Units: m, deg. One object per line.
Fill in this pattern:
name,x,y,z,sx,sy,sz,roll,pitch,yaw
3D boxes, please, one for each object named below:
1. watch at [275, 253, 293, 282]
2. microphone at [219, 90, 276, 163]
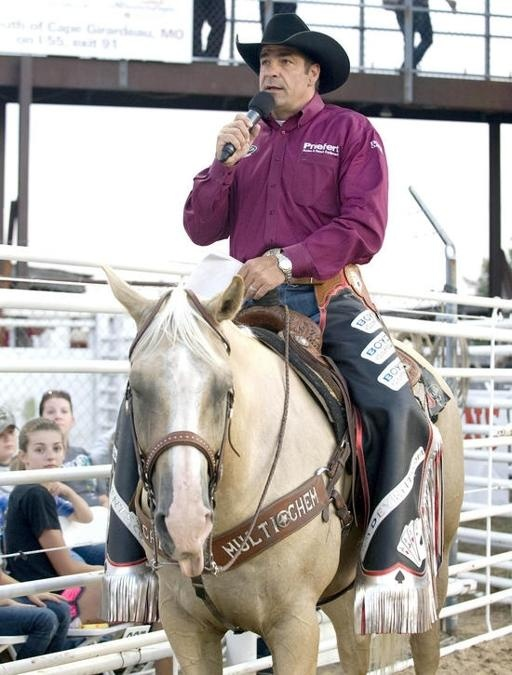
watch,0.130,-0.315,6.506,0.034,0.077,0.101,-18,-27,20
microphone,-0.021,-0.958,6.588,0.116,0.561,0.134,20,-42,6
